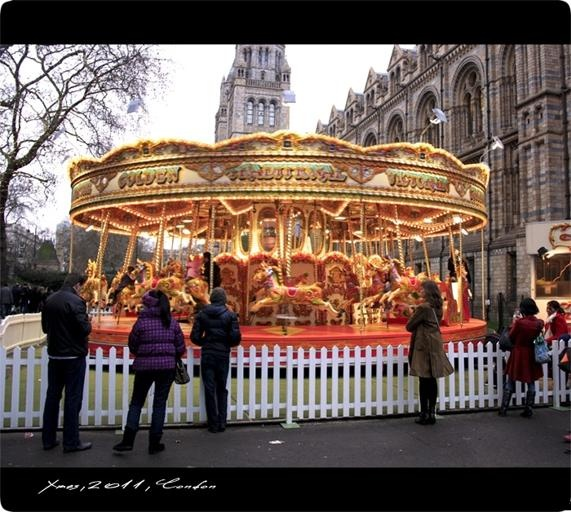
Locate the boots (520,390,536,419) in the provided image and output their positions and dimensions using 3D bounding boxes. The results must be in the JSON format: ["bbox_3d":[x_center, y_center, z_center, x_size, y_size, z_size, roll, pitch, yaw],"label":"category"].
[{"bbox_3d":[3.554,2.177,9.242,0.186,0.371,0.385,-4,-9,20],"label":"boots"}]

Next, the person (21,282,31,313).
[{"bbox_3d":[-9.507,1.574,22.940,0.239,1.097,2.831,3,-10,-22],"label":"person"}]

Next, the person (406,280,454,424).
[{"bbox_3d":[2.044,1.354,8.954,0.613,2.028,0.390,-2,-8,13],"label":"person"}]

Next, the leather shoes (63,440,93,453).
[{"bbox_3d":[-2.482,2.279,7.518,0.343,0.165,0.105,-5,7,-34],"label":"leather shoes"}]

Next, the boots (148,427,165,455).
[{"bbox_3d":[-1.529,2.181,7.407,0.188,0.300,0.202,1,-8,-12],"label":"boots"}]

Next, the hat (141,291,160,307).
[{"bbox_3d":[-1.697,0.536,7.779,0.196,0.206,0.180,2,-6,-43],"label":"hat"}]

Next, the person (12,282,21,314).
[{"bbox_3d":[-9.317,1.467,21.661,0.279,1.005,1.639,3,-9,-23],"label":"person"}]

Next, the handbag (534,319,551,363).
[{"bbox_3d":[3.765,1.330,9.231,0.198,0.541,0.377,-5,-9,29],"label":"handbag"}]

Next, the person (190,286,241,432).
[{"bbox_3d":[-0.966,1.393,8.519,0.660,1.936,0.381,1,-8,-10],"label":"person"}]

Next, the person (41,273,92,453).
[{"bbox_3d":[-2.672,1.283,7.656,0.616,2.127,0.541,3,-9,-22],"label":"person"}]

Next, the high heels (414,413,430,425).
[{"bbox_3d":[1.913,2.286,8.827,0.086,0.175,0.234,0,0,-12],"label":"high heels"}]

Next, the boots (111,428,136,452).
[{"bbox_3d":[-1.920,2.175,7.438,0.261,0.299,0.251,1,-9,-13],"label":"boots"}]

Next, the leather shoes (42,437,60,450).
[{"bbox_3d":[-2.837,2.277,7.585,0.062,0.127,0.180,2,5,17],"label":"leather shoes"}]

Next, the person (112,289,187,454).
[{"bbox_3d":[-1.613,1.377,7.571,0.764,1.934,0.363,2,-8,-16],"label":"person"}]

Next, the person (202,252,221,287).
[{"bbox_3d":[-1.651,0.362,13.981,0.378,0.836,1.243,0,-9,-7],"label":"person"}]
